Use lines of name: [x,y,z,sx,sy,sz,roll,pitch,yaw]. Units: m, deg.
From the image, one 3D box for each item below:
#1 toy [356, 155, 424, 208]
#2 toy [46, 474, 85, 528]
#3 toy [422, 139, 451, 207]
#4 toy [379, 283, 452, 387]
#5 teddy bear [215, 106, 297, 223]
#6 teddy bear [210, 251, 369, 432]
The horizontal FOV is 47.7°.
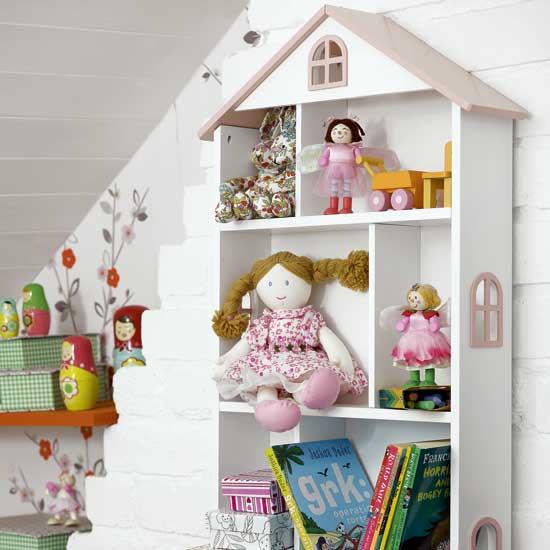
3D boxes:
toy: [0.193,-0.148,1.072,0.117,0.095,0.085,-2,-2,34]
toy: [-0.578,0.617,1.720,0.090,0.140,0.081,-3,-9,20]
toy: [0.280,-0.168,1.036,0.069,0.103,0.072,0,9,21]
toy: [0.250,0.100,1.063,0.122,0.168,0.117,-1,1,31]
teddy bear: [-0.021,-0.230,1.214,0.191,0.242,0.170,-5,9,-5]
teddy bear: [0.025,0.111,1.194,0.327,0.423,0.148,-6,-45,4]
